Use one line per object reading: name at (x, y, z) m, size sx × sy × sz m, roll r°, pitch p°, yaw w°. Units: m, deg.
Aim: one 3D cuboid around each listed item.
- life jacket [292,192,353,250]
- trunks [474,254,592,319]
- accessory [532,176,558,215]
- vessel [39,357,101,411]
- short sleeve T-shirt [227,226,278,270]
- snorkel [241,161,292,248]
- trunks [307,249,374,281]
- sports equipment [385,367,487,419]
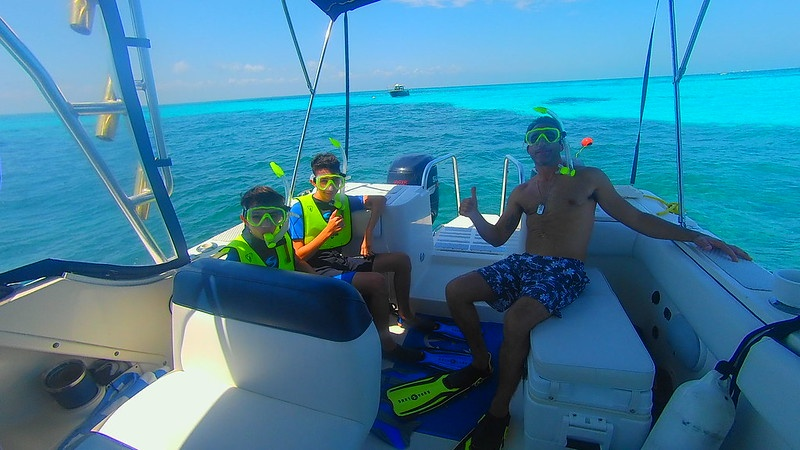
life jacket at (-0.765, -0.041, 4.452) m, size 0.300 × 0.472 × 0.505 m, roll 18°, pitch 26°, yaw 39°
trunks at (1.155, 0.453, 3.875) m, size 0.656 × 0.253 × 0.666 m, roll -21°, pitch 18°, yaw -38°
accessory at (1.299, -0.250, 4.154) m, size 0.168 × 0.293 × 0.022 m, roll 7°, pitch 3°, yaw -36°
vessel at (-2.571, 1.235, 3.751) m, size 0.379 × 0.386 × 0.385 m, roll -33°, pitch 13°, yaw -29°
short sleeve T-shirt at (-1.198, 0.154, 3.820) m, size 0.291 × 0.434 × 0.374 m, roll -1°, pitch 9°, yaw 17°
snorkel at (-1.002, -0.211, 3.862) m, size 0.261 × 0.126 × 0.728 m, roll 5°, pitch 55°, yaw -7°
trunks at (-0.607, 0.374, 4.431) m, size 0.412 × 0.122 × 0.354 m, roll 9°, pitch 33°, yaw 6°
sports equipment at (0.256, 1.530, 4.104) m, size 1.072 × 0.226 × 0.323 m, roll -12°, pitch 55°, yaw -4°
